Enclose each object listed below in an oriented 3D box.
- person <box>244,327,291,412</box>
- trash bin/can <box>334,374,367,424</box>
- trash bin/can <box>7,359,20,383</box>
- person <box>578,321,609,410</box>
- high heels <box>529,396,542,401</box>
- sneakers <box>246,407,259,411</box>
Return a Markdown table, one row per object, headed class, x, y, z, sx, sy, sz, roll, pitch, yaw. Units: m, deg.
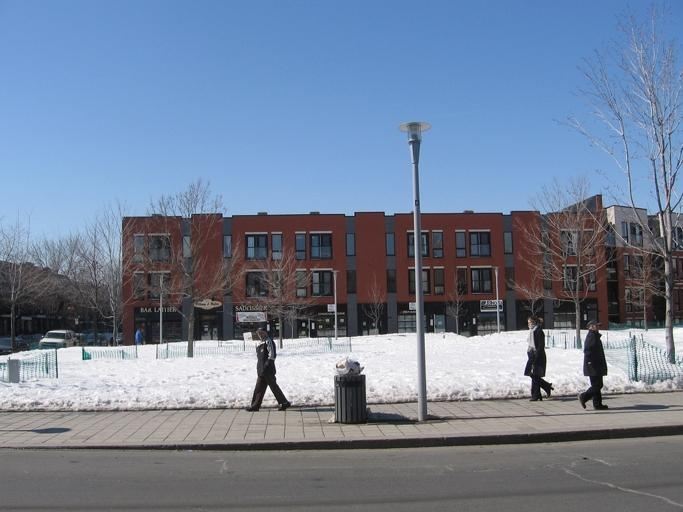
| class | x | y | z | sx | sy | sz | roll | pitch | yaw |
| --- | --- | --- | --- | --- | --- | --- | --- | --- | --- |
| person | -1.956 | 2.934 | 18.489 | 1.014 | 2.124 | 1.368 | -1 | -7 | -6 |
| trash bin/can | 0.190 | 3.353 | 16.608 | 0.788 | 1.156 | 0.346 | -1 | -6 | -1 |
| trash bin/can | -9.545 | 3.335 | 20.553 | 0.298 | 0.662 | 0.420 | 2 | -8 | -27 |
| person | 6.372 | 2.754 | 18.051 | 0.634 | 2.237 | 1.589 | -4 | -7 | 21 |
| high heels | 5.056 | 3.740 | 18.566 | 0.312 | 0.138 | 0.118 | 9 | -14 | -16 |
| sneakers | -2.261 | 3.839 | 17.804 | 0.294 | 0.143 | 0.106 | -9 | -9 | 22 |
